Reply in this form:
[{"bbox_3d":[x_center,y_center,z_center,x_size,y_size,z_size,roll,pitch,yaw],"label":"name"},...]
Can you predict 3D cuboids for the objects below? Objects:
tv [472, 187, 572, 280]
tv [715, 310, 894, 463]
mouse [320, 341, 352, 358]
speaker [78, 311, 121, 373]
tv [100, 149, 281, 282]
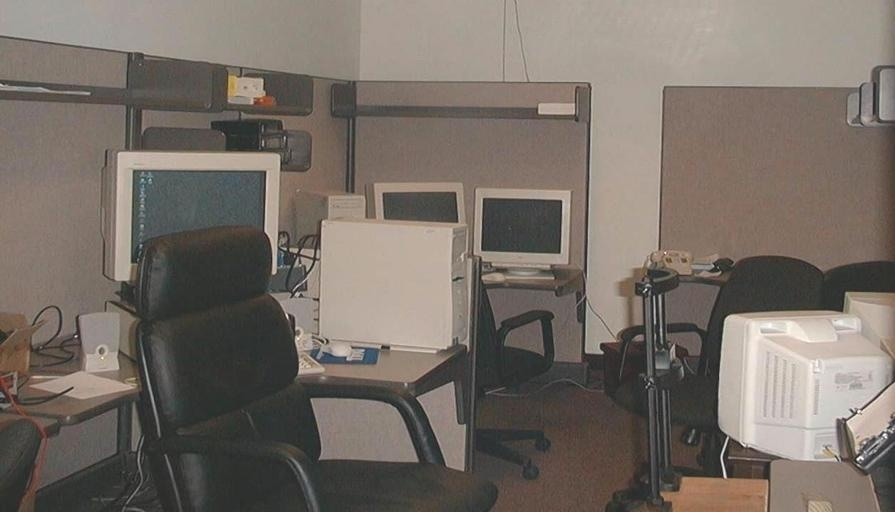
[{"bbox_3d":[0.568,-0.203,5.994,1.102,0.840,0.566,0,-1,4],"label":"tv"},{"bbox_3d":[1.312,0.467,3.131,0.600,0.546,0.573,0,0,-12],"label":"tv"},{"bbox_3d":[-0.547,0.472,3.954,0.122,0.041,0.076,0,4,-23],"label":"mouse"},{"bbox_3d":[-1.674,0.418,3.791,0.180,0.282,0.110,0,5,-25],"label":"speaker"},{"bbox_3d":[-1.259,-0.295,3.870,1.013,0.664,0.679,0,3,-23],"label":"tv"}]
